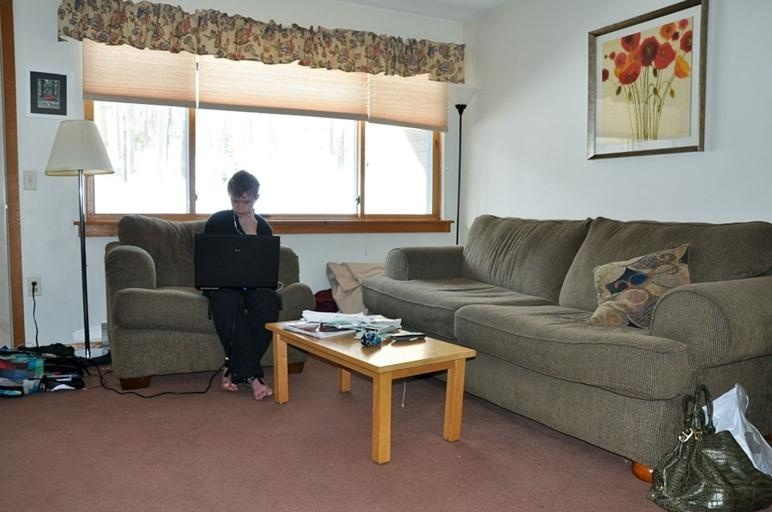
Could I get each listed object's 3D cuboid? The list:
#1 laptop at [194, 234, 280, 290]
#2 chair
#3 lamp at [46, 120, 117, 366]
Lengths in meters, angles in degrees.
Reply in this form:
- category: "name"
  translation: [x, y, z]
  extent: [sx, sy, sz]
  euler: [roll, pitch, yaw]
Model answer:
- category: "laptop"
  translation: [-0.988, 0.042, 4.151]
  extent: [0.531, 0.354, 0.369]
  euler: [1, 1, -10]
- category: "chair"
  translation: [-1.400, 0.254, 4.801]
  extent: [1.402, 1.066, 1.292]
  euler: [0, 9, -30]
- category: "lamp"
  translation: [-2.282, -0.088, 4.682]
  extent: [0.446, 1.760, 0.441]
  euler: [4, 2, -14]
